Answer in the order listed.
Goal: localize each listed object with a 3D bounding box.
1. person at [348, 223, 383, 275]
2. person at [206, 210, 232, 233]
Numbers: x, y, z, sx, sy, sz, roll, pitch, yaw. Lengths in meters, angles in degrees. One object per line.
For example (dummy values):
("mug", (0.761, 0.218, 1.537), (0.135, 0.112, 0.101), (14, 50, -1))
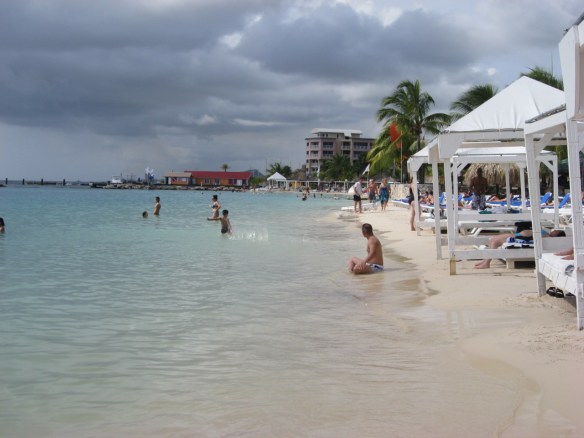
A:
("person", (1.578, 0.823, 12.895), (0.886, 1.433, 0.895), (-3, 1, 13))
("person", (-3.307, 0.107, 25.852), (1.235, 1.243, 0.336), (-1, 5, 14))
